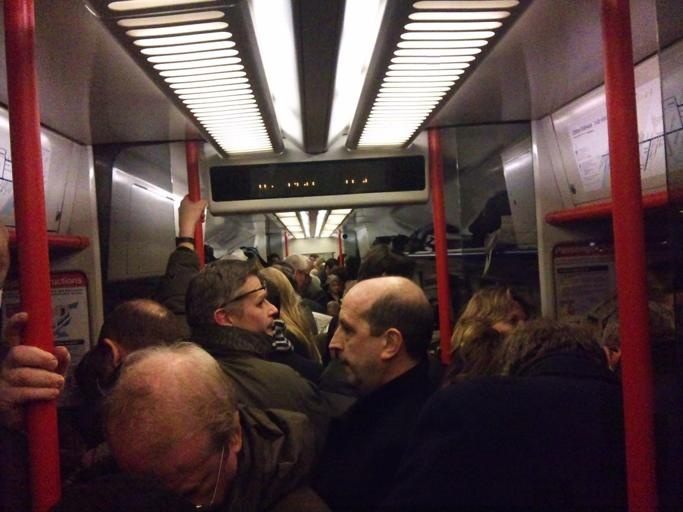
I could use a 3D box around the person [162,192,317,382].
[{"bbox_3d":[-0.293,0.138,1.618,0.176,0.473,0.818,-7,24,-40],"label":"person"}]
